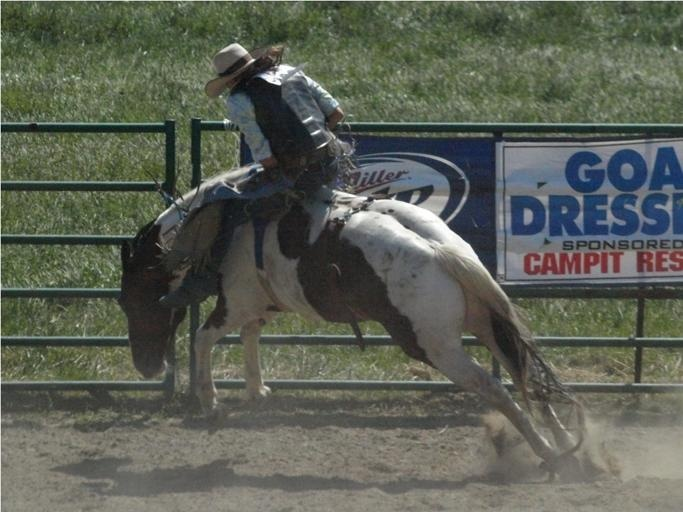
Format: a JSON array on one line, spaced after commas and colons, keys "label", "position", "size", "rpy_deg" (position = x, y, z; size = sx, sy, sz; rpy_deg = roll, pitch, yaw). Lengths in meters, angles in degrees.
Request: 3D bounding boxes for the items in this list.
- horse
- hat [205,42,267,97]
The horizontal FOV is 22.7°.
[{"label": "horse", "position": [0.265, 0.809, 19.798], "size": [6.958, 3.380, 1.613], "rpy_deg": [13, 22, 26]}, {"label": "hat", "position": [-1.287, -2.029, 19.469], "size": [0.643, 0.256, 0.554], "rpy_deg": [-36, 14, 41]}]
